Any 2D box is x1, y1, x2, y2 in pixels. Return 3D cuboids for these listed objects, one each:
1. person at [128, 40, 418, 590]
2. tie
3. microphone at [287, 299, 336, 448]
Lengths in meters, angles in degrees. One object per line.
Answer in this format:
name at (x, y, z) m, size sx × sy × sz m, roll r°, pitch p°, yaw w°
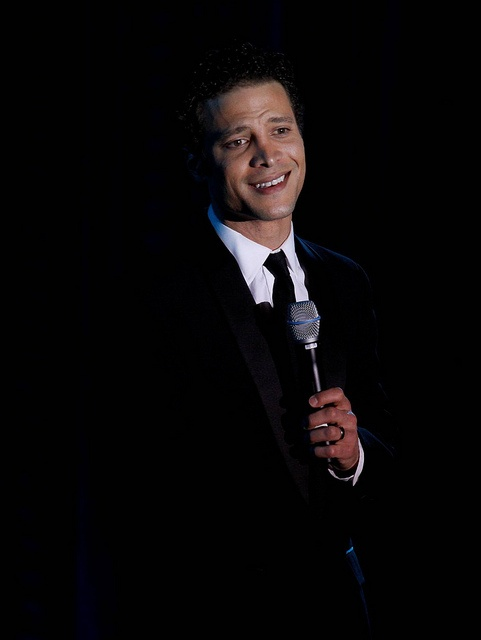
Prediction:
person at (0.076, -0.001, 2.331) m, size 0.872 × 1.786 × 0.482 m, roll 0°, pitch -16°, yaw -29°
tie at (0.136, 0.024, 2.253) m, size 0.102 × 0.478 × 0.096 m, roll -19°, pitch -38°, yaw 22°
microphone at (0.187, 0.075, 1.954) m, size 0.085 × 0.267 × 0.065 m, roll -9°, pitch -14°, yaw 7°
